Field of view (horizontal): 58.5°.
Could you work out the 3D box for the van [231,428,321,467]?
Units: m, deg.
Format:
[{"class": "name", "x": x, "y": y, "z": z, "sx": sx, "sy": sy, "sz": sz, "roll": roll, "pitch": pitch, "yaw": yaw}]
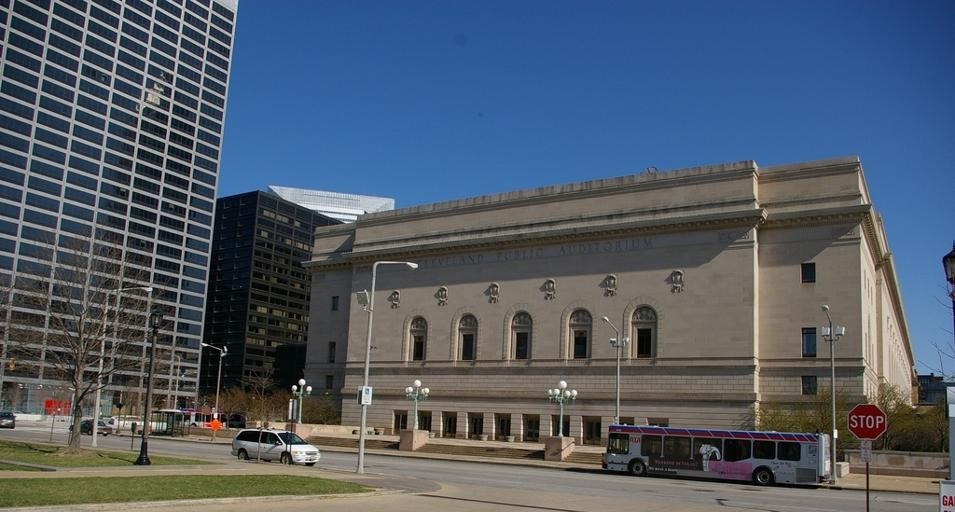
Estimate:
[{"class": "van", "x": -22.201, "y": 20.670, "z": 92.054, "sx": 11.035, "sy": 3.303, "sz": 4.078, "roll": -3, "pitch": -10, "yaw": 20}]
